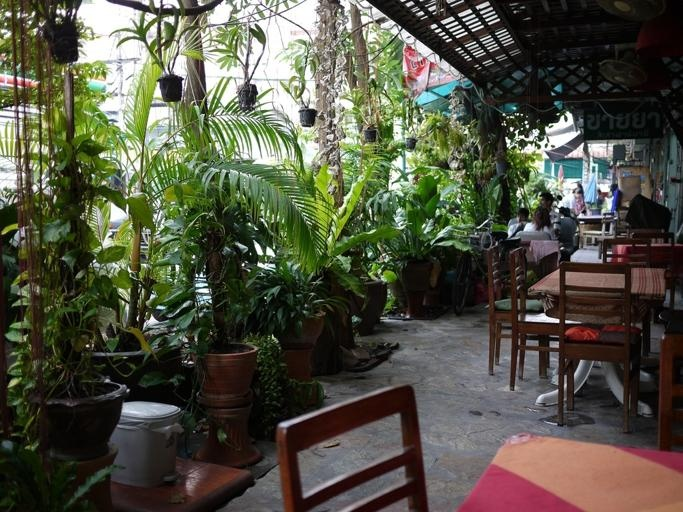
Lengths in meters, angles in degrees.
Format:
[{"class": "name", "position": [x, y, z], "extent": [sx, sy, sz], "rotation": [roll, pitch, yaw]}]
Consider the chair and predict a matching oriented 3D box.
[{"class": "chair", "position": [1.826, 0.468, 4.332], "extent": [1.220, 0.926, 1.363], "rotation": [1, 2, 22]}]

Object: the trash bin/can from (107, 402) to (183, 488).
[{"class": "trash bin/can", "position": [-1.137, 1.056, 3.124], "extent": [0.437, 0.428, 0.288], "rotation": [0, -1, 28]}]

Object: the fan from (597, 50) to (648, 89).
[{"class": "fan", "position": [2.512, -1.657, 4.904], "extent": [0.430, 0.208, 0.363], "rotation": [-3, 7, -33]}]
